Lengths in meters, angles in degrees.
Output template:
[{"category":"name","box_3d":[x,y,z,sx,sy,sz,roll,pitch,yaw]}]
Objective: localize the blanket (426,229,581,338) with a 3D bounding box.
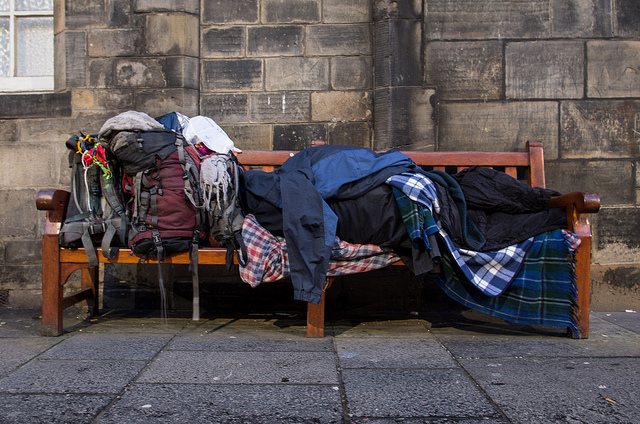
[{"category":"blanket","box_3d":[1.592,0.635,7.690,1.239,0.393,1.048,11,23,28]}]
